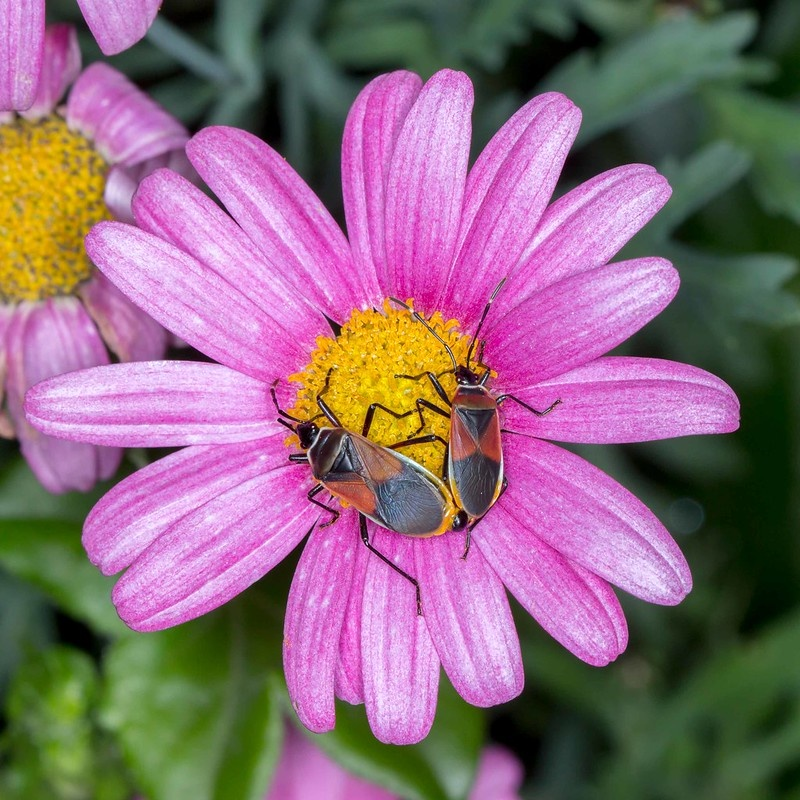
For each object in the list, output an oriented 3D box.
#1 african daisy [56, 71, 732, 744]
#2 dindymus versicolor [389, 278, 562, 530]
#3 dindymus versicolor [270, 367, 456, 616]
[{"bbox_3d":[-0.029,0.019,1.453,1.043,0.322,1.007,-27,82,-1],"label":"african daisy"},{"bbox_3d":[0.109,0.043,1.451,0.272,0.081,0.390,-9,79,9],"label":"dindymus versicolor"},{"bbox_3d":[-0.026,0.152,1.539,0.383,0.108,0.282,38,104,19],"label":"dindymus versicolor"}]
